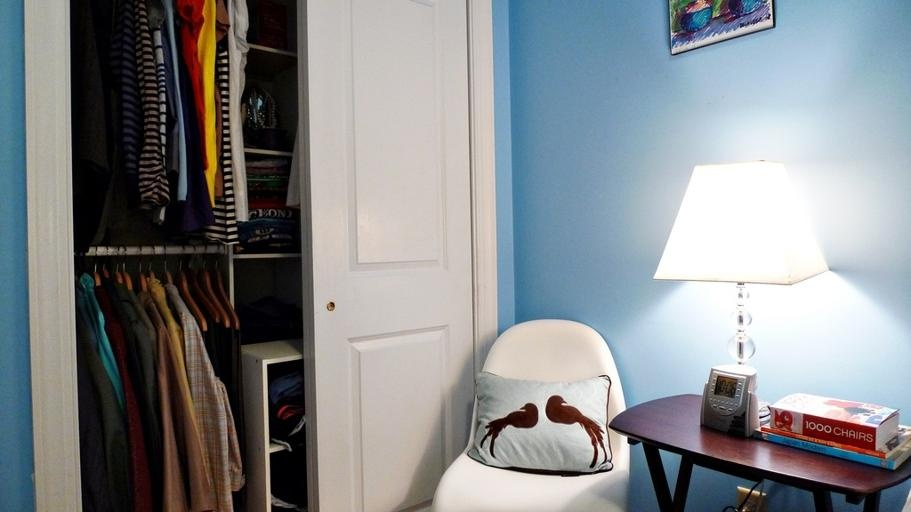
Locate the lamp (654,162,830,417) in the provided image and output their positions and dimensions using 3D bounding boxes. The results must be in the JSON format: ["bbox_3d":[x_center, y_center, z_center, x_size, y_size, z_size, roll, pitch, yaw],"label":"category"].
[{"bbox_3d":[1.660,0.033,3.560,0.911,1.784,0.898,0,2,30],"label":"lamp"}]
